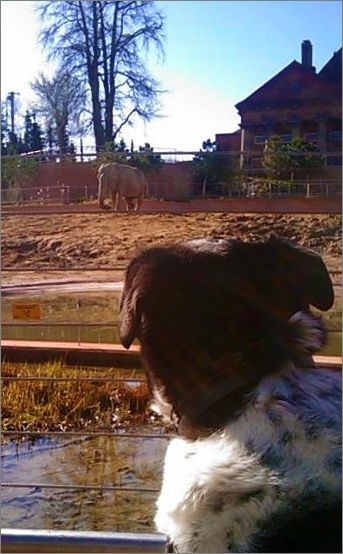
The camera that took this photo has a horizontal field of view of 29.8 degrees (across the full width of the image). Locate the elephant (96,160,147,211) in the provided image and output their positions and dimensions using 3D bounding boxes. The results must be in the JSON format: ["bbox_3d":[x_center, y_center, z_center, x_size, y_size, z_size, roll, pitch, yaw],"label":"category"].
[{"bbox_3d":[-1.448,-2.701,19.111,1.252,1.364,3.650,-2,8,-1],"label":"elephant"}]
